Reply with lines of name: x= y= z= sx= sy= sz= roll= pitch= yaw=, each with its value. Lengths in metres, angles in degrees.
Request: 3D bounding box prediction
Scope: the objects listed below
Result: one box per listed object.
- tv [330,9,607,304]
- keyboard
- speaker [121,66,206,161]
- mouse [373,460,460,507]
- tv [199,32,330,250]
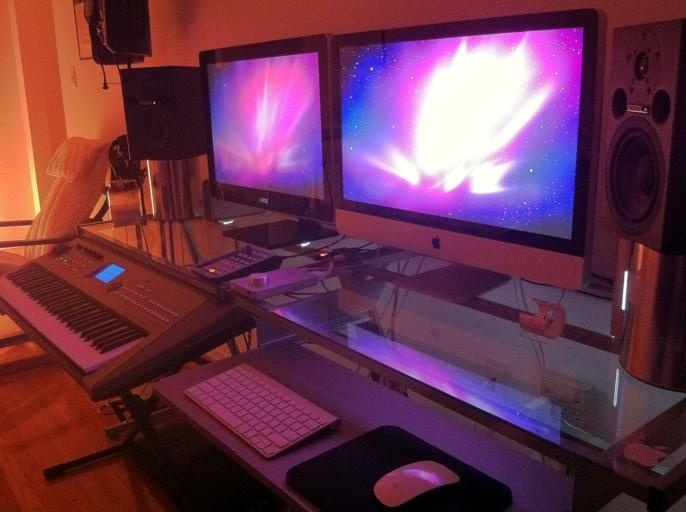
tv: x=0.279 y=-0.212 z=1.132 sx=0.070 sy=0.507 sz=0.662 roll=-17 pitch=23 yaw=-42
keyboard: x=-0.182 y=0.344 z=1.160 sx=0.130 sy=0.030 sz=0.242 roll=-16 pitch=24 yaw=-38
speaker: x=-0.688 y=-0.547 z=2.011 sx=0.295 sy=0.347 sz=0.133 roll=-8 pitch=22 yaw=-17
mouse: x=0.122 y=0.408 z=0.942 sx=0.131 sy=0.032 sz=0.069 roll=-21 pitch=31 yaw=-28
tv: x=-0.233 y=-0.350 z=1.609 sx=0.663 sy=0.664 sz=0.212 roll=12 pitch=18 yaw=42
